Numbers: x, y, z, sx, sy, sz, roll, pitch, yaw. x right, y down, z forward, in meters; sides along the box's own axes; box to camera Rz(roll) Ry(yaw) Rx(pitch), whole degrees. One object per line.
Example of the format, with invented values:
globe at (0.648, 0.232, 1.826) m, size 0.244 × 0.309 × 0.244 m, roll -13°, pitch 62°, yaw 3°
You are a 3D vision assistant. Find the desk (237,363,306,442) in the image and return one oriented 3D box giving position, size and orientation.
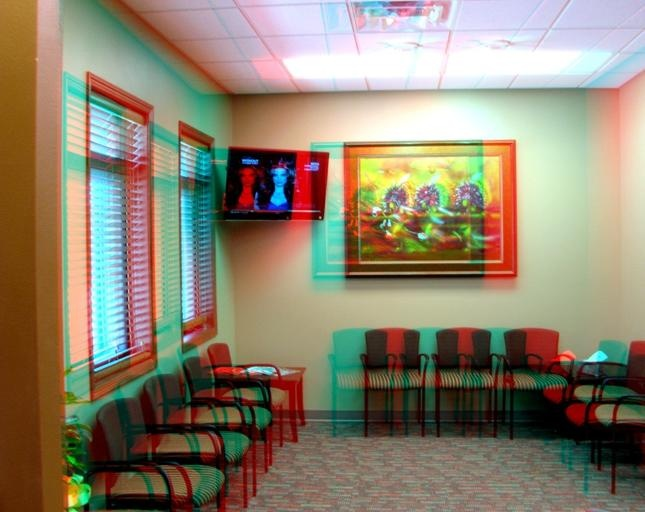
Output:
desk at (-0.227, 0.722, 2.708) m, size 0.389 × 0.359 × 0.337 m, roll -2°, pitch -11°, yaw 6°

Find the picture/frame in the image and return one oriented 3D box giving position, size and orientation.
picture/frame at (0.572, -0.248, 2.636) m, size 0.725 × 0.548 × 0.033 m, roll 0°, pitch 3°, yaw 3°

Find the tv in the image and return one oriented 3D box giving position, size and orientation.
tv at (-0.220, -0.370, 2.712) m, size 0.391 × 0.274 × 0.052 m, roll 3°, pitch 1°, yaw 0°
